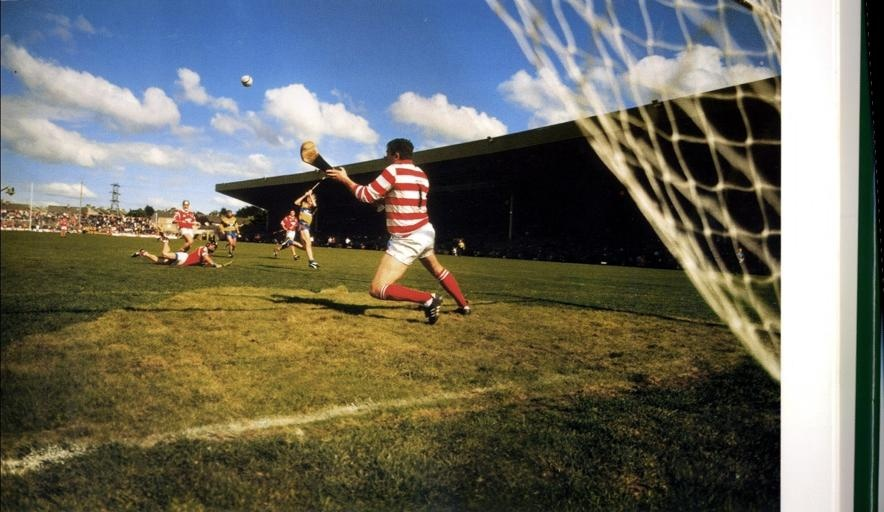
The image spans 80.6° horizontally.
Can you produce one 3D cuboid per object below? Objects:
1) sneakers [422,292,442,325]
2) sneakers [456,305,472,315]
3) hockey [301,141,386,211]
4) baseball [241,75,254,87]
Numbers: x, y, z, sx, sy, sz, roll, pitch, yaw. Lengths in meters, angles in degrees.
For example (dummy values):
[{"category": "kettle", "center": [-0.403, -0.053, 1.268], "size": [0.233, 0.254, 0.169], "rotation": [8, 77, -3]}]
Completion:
[{"category": "sneakers", "center": [-0.118, 0.477, 4.927], "size": [0.165, 0.313, 0.117], "rotation": [2, 5, 10]}, {"category": "sneakers", "center": [0.207, 0.524, 5.073], "size": [0.082, 0.072, 0.165], "rotation": [6, -14, -17]}, {"category": "hockey", "center": [-1.003, -0.732, 4.935], "size": [0.323, 0.378, 0.880], "rotation": [-29, -45, 27]}, {"category": "baseball", "center": [-1.737, -1.538, 4.622], "size": [0.087, 0.100, 0.105], "rotation": [-18, 16, -21]}]
